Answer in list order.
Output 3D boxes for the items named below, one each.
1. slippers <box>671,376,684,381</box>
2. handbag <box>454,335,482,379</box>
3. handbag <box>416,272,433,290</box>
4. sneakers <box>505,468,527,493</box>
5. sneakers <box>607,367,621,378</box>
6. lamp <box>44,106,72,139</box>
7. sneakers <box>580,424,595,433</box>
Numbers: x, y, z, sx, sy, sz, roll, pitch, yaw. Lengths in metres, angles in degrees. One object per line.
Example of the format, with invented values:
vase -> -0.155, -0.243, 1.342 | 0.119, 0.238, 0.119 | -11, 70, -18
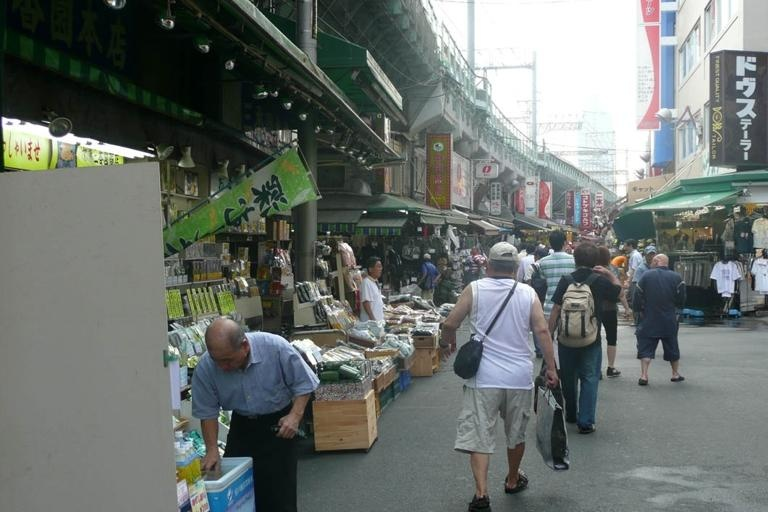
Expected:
slippers -> 4.667, 1.929, 11.078 | 0.184, 0.085, 0.077 | -3, 0, -16
handbag -> 0.823, 0.995, 6.765 | 0.269, 0.419, 0.196 | -1, 3, 7
handbag -> 1.315, 0.808, 22.277 | 0.486, 0.540, 0.270 | 5, 2, 18
sneakers -> 1.356, 2.285, 7.091 | 0.134, 0.115, 0.264 | 1, 11, 28
sneakers -> 3.820, 1.926, 11.567 | 0.111, 0.138, 0.305 | 1, 1, 39
lamp -> -3.589, -1.475, 7.672 | 0.255, 0.360, 0.573 | -3, 3, -26
sneakers -> 2.523, 2.119, 8.620 | 0.202, 0.097, 0.073 | -4, 4, -34
